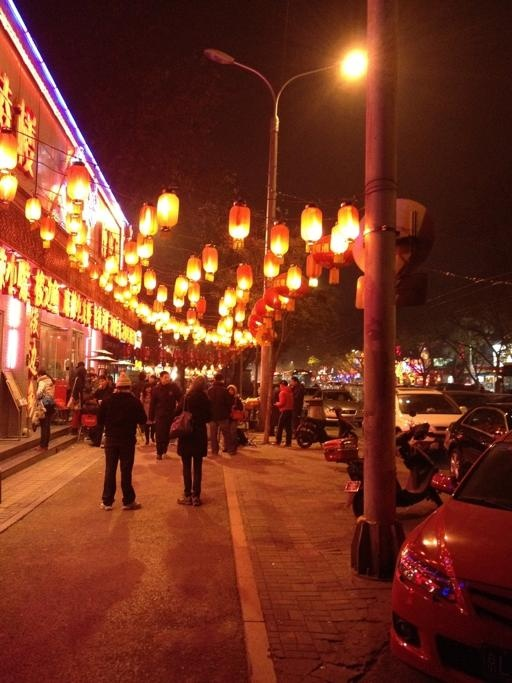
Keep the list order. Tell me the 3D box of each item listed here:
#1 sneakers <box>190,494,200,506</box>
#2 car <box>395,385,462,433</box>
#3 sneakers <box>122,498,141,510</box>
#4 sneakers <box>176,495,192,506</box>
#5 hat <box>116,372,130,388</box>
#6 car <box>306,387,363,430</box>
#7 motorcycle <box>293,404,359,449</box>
[{"bbox_3d":[-0.897,2.319,8.001,0.150,0.146,0.224,0,-1,-6],"label":"sneakers"},{"bbox_3d":[4.500,1.763,14.287,1.149,1.118,2.769,0,-6,-2],"label":"car"},{"bbox_3d":[-1.789,2.298,7.697,0.247,0.151,0.116,-3,8,-9],"label":"sneakers"},{"bbox_3d":[-1.088,2.360,8.099,0.188,0.159,0.102,5,-1,13],"label":"sneakers"},{"bbox_3d":[-2.020,0.600,8.166,0.223,0.289,0.236,-1,0,39],"label":"hat"},{"bbox_3d":[3.446,2.862,23.352,1.392,1.361,3.656,0,-5,-6],"label":"car"},{"bbox_3d":[2.163,2.370,14.901,1.881,1.513,1.119,-3,-8,-4],"label":"motorcycle"}]
